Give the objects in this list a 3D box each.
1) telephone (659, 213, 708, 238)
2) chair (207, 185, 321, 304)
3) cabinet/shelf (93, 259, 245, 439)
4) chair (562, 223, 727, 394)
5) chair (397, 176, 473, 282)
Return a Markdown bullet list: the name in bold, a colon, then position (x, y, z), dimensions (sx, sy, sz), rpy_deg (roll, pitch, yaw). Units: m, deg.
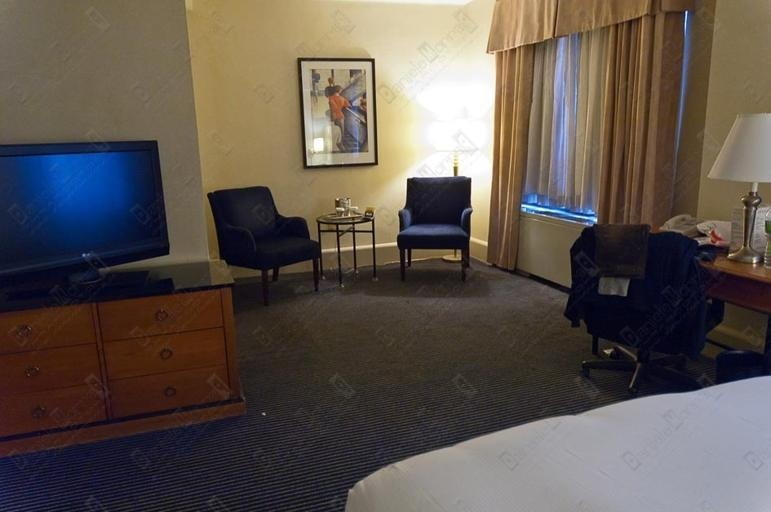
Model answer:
- **telephone**: position (2.329, -0.232, 4.336), dimensions (0.273, 0.121, 0.283), rpy_deg (1, 16, 30)
- **chair**: position (-1.309, -0.156, 6.034), dimensions (0.923, 1.160, 0.868), rpy_deg (4, 11, 34)
- **cabinet/shelf**: position (-1.552, 0.650, 4.072), dimensions (1.030, 0.916, 0.878), rpy_deg (-4, 7, -2)
- **chair**: position (1.874, 0.381, 4.112), dimensions (0.971, 1.092, 0.977), rpy_deg (7, -4, 26)
- **chair**: position (0.595, -0.350, 6.651), dimensions (0.838, 1.097, 0.978), rpy_deg (-1, 14, 7)
